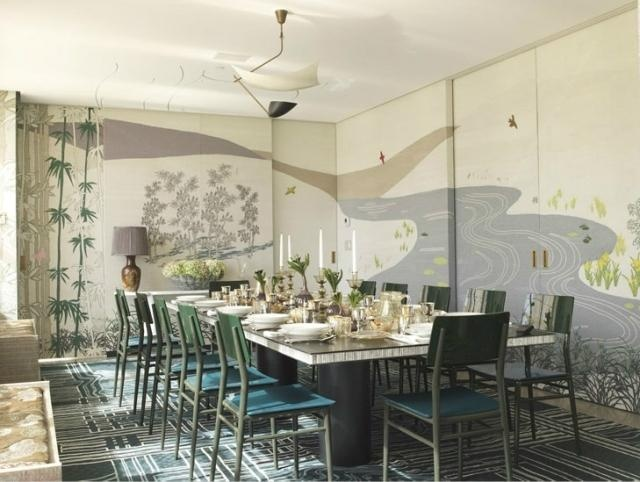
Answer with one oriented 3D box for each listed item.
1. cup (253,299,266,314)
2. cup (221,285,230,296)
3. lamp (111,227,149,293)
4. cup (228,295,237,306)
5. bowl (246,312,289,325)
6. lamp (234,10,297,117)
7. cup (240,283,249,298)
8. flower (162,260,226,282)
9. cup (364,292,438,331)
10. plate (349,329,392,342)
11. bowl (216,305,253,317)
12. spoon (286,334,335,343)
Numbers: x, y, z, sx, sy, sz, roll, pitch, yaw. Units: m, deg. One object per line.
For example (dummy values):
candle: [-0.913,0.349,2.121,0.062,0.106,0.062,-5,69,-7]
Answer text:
cup: [-0.437,0.485,3.926,0.098,0.100,0.094,0,0,0]
cup: [-0.858,0.456,4.916,0.096,0.092,0.093,1,3,0]
lamp: [-2.423,0.240,6.911,0.524,0.825,0.505,2,-6,-40]
cup: [-0.690,0.486,4.288,0.079,0.131,0.075,0,-4,0]
bowl: [-0.358,0.537,3.691,0.305,0.073,0.377,-1,-1,-10]
lamp: [-0.517,-1.750,5.249,0.732,0.989,0.335,11,18,21]
cup: [-0.683,0.454,4.866,0.083,0.116,0.083,1,2,0]
flower: [-1.687,0.380,7.017,0.443,0.178,0.410,-2,0,32]
cup: [0.520,0.448,3.478,0.363,0.160,0.279,-1,-5,8]
plate: [0.295,0.571,3.263,0.247,0.028,0.332,-1,-1,-12]
bowl: [-0.625,0.520,4.012,0.195,0.043,0.185,0,-2,0]
spoon: [-0.044,0.578,3.164,0.329,0.020,0.208,-1,-1,-19]
